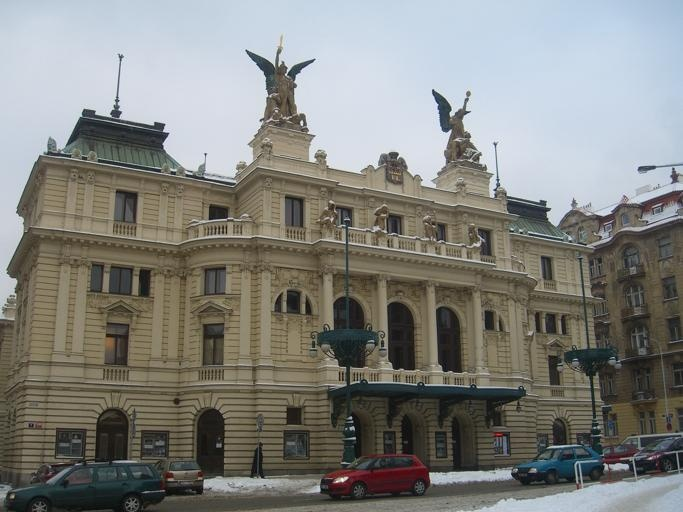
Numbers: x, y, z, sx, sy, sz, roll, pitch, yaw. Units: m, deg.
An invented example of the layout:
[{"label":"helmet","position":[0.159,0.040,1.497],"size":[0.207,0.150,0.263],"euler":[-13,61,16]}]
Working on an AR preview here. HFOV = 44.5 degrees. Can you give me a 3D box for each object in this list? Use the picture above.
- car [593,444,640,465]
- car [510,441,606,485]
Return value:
[{"label":"car","position":[17.698,12.533,53.141],"size":[2.390,1.082,1.400],"euler":[-3,-10,-2]},{"label":"car","position":[12.482,12.182,47.110],"size":[3.918,2.728,4.786],"euler":[1,-11,-22]}]
